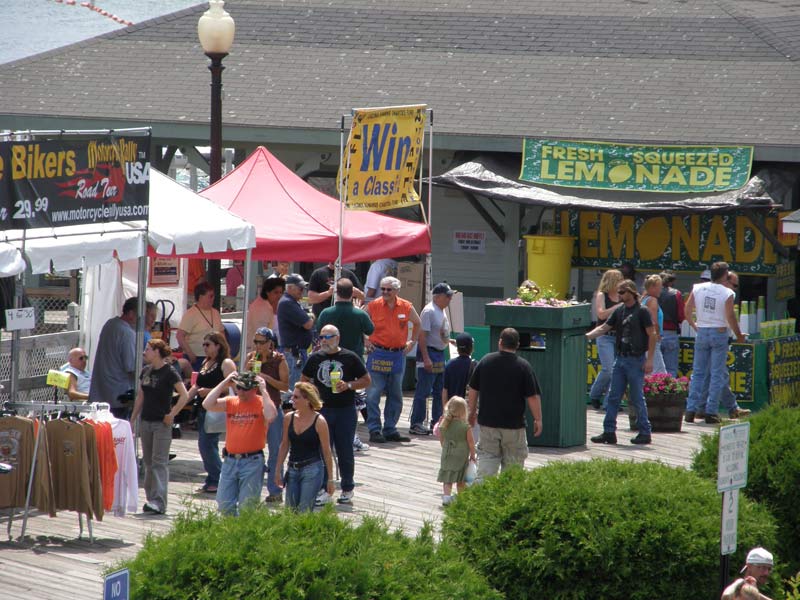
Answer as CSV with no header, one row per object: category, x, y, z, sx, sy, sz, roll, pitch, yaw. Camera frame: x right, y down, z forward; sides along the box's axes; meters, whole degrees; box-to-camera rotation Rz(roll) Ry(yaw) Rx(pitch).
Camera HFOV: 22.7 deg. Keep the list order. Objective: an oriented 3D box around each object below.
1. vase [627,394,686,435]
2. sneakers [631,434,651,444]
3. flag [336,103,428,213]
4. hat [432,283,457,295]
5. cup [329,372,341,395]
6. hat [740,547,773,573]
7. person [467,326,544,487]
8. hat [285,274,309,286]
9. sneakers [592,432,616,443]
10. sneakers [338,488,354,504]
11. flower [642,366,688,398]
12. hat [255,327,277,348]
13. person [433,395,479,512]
vase,3.681,1.564,27.792,0.579,0.395,0.609,2,-9,-15
sneakers,3.271,1.865,26.919,0.256,0.107,0.111,2,1,-3
flag,-0.244,-1.936,27.028,1.836,1.859,0.264,-8,12,-37
hat,0.623,-0.150,27.113,0.175,0.100,0.263,5,4,39
cup,-0.758,0.957,23.575,0.130,0.249,0.078,0,-2,-2
hat,3.753,2.677,20.838,0.177,0.150,0.248,-1,-1,-29
person,1.256,1.241,23.986,0.882,1.795,0.421,0,-2,7
hat,-1.327,-0.228,25.689,0.245,0.130,0.175,11,9,-4
sneakers,2.801,1.862,27.052,0.340,0.184,0.130,4,1,8
sneakers,-0.641,2.357,23.943,0.090,0.112,0.244,0,-4,23
flower,3.783,1.155,27.821,0.440,0.329,0.711,-2,-4,43
hat,-1.633,0.447,24.300,0.227,0.235,0.422,-1,-3,25
person,0.671,1.773,23.827,0.476,1.247,0.285,0,-2,0
